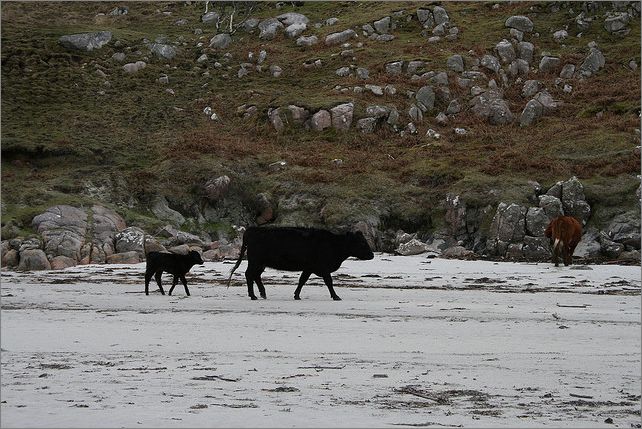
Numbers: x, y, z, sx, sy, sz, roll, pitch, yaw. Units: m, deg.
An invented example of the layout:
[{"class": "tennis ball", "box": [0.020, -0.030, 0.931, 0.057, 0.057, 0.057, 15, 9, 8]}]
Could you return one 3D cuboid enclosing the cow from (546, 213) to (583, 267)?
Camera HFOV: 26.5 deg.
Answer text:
[{"class": "cow", "box": [23.405, 2.369, 131.117, 3.506, 4.427, 8.673, -5, 11, 19]}]
